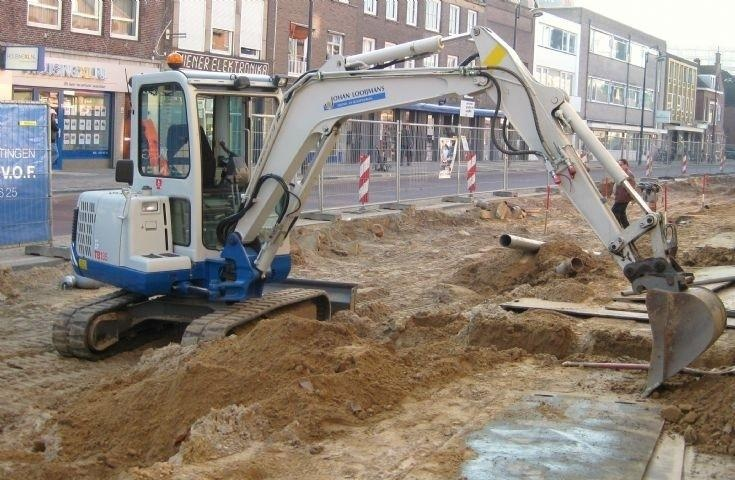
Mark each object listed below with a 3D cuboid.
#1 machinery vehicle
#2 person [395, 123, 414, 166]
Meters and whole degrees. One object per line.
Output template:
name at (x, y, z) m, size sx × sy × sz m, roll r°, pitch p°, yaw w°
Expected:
machinery vehicle at (-0.633, -0.620, 8.624) m, size 9.404 × 4.654 × 3.491 m, roll 3°, pitch 7°, yaw 22°
person at (1.234, -3.084, 18.467) m, size 0.544 × 1.459 × 0.433 m, roll -2°, pitch 39°, yaw 1°
